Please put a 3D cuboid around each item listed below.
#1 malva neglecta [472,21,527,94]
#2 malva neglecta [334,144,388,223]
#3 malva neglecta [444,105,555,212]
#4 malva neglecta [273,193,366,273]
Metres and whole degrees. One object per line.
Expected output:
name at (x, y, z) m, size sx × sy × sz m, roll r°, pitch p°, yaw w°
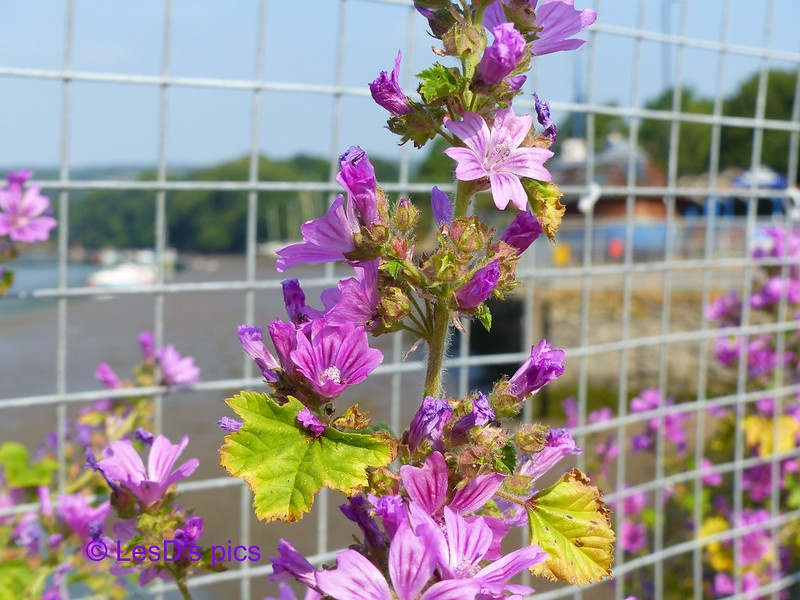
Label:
malva neglecta at (0.257, -0.626, 2.992) m, size 0.140 × 0.158 × 0.098 m, roll -3°, pitch 3°, yaw -1°
malva neglecta at (-0.102, -0.297, 3.054) m, size 0.120 × 0.207 × 0.152 m, roll -2°, pitch 3°, yaw -3°
malva neglecta at (0.248, -0.355, 3.025) m, size 0.229 × 0.274 × 0.114 m, roll -17°, pitch -10°, yaw -22°
malva neglecta at (-0.216, -0.174, 3.031) m, size 0.216 × 0.179 × 0.115 m, roll -1°, pitch 3°, yaw 28°
